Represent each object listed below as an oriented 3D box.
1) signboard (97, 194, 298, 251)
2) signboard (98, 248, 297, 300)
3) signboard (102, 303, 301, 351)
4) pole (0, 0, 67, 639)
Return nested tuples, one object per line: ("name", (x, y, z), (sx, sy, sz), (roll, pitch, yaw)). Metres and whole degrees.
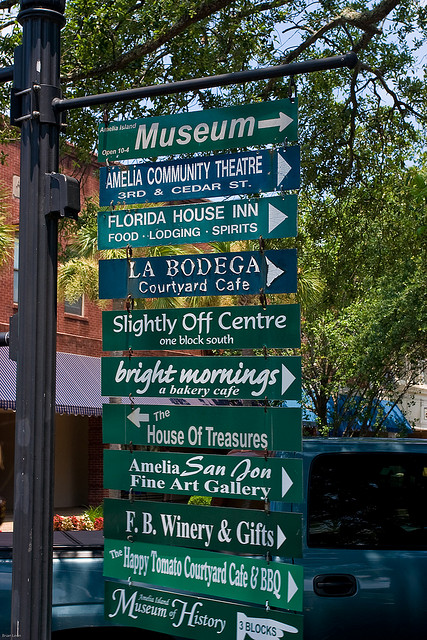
("signboard", (-0.112, -0.537, 5.688), (1.211, 0.275, 0.102), (2, 2, 25))
("signboard", (-0.107, -0.239, 5.698), (1.133, 0.272, 0.020), (-1, 1, 16))
("signboard", (-0.093, 0.048, 5.622), (1.250, 0.280, 0.218), (2, 2, 31))
("pole", (-0.965, 0.001, 5.675), (0.301, 3.681, 0.763), (0, 2, -11))
